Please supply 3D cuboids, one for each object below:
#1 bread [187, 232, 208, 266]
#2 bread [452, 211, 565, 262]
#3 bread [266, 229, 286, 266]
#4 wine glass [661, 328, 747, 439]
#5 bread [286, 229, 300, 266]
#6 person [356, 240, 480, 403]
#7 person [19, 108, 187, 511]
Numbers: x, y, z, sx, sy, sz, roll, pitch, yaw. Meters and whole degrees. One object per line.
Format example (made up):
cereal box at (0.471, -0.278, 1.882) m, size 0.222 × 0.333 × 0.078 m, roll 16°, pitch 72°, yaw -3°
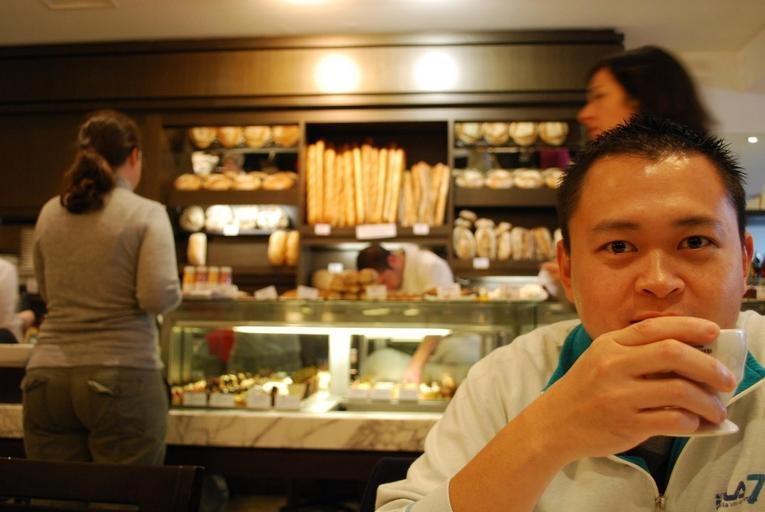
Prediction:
bread at (-1.340, -0.047, 5.604) m, size 0.153 × 0.255 × 0.273 m, roll 2°, pitch -2°, yaw -8°
bread at (0.854, -0.099, 5.305) m, size 0.656 × 0.334 × 0.199 m, roll 4°, pitch 6°, yaw -5°
bread at (-0.731, -0.052, 5.466) m, size 0.121 × 0.214 × 0.171 m, roll 7°, pitch -12°, yaw -26°
wine glass at (1.000, 0.401, 2.492) m, size 0.323 × 0.314 × 0.300 m, roll 0°, pitch 0°, yaw -21°
bread at (-0.622, -0.057, 5.389) m, size 0.070 × 0.194 × 0.199 m, roll 3°, pitch -23°, yaw -11°
person at (0.210, 0.356, 4.598) m, size 0.794 × 1.292 × 0.685 m, roll 5°, pitch -14°, yaw -5°
person at (-1.399, 0.135, 3.873) m, size 0.764 × 1.763 × 0.424 m, roll 3°, pitch 3°, yaw -6°
